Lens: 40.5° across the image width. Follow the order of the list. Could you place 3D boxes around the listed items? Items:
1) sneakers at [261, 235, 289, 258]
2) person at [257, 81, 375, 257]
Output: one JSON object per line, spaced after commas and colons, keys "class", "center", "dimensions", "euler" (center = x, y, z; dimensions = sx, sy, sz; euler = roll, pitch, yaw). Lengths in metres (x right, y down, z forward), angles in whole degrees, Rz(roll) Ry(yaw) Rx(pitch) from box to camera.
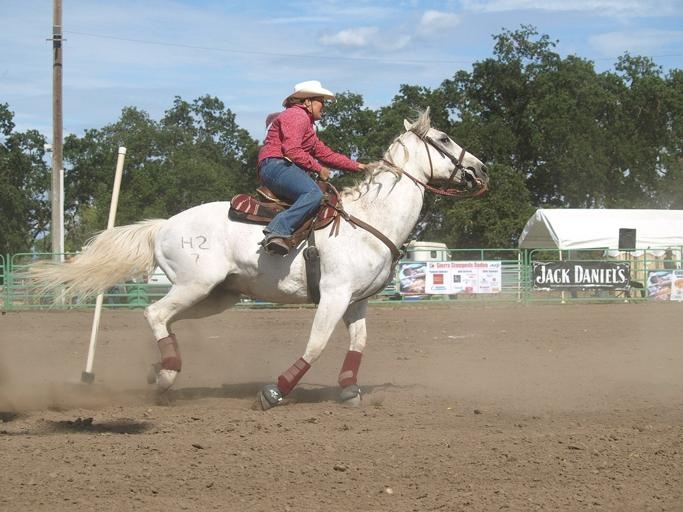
{"class": "sneakers", "center": [-0.813, -0.123, 11.278], "dimensions": [0.379, 0.161, 0.153], "euler": [14, 22, -16]}
{"class": "person", "center": [-0.552, -1.123, 11.778], "dimensions": [0.911, 2.213, 1.246], "euler": [0, -1, 44]}
